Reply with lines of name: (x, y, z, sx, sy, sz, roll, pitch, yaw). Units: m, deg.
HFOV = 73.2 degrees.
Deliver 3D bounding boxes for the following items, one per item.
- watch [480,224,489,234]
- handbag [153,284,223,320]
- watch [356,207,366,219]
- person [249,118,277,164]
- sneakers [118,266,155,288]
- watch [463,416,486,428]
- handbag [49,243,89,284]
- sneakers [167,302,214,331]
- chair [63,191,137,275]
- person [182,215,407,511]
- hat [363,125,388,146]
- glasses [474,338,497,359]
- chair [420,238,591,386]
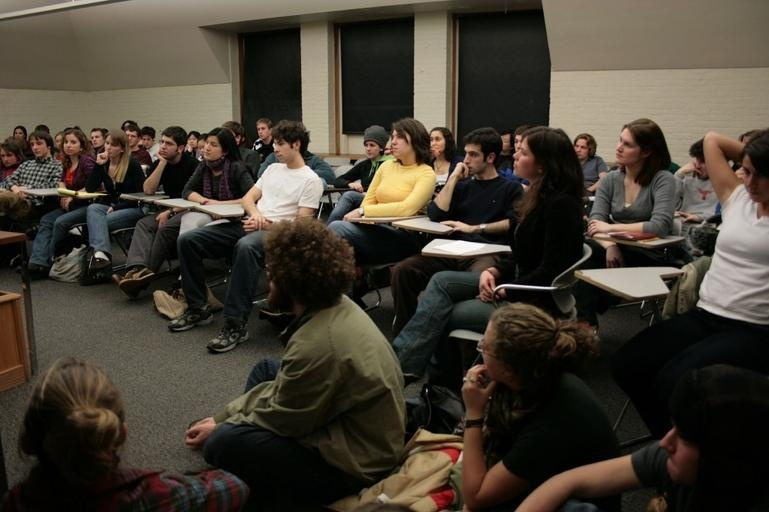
watch: (0.738, -0.195, 3.814, 0.061, 0.045, 0.060, -3, 0, 33)
handbag: (-1.795, 0.368, 4.639, 0.416, 0.197, 0.317, -2, 8, -40)
watch: (-0.192, -0.349, 4.273, 0.058, 0.075, 0.076, 1, 0, 5)
person: (-1.862, -1.597, 8.092, 0.457, 1.003, 0.364, 1, -2, 6)
sneakers: (-2.275, 0.202, 4.743, 0.243, 0.099, 0.156, -11, 45, -10)
watch: (0.372, 0.650, 2.053, 0.059, 0.039, 0.063, 4, -12, 7)
handbag: (-3.419, 0.136, 5.708, 0.336, 0.465, 0.164, 14, -13, 16)
sneakers: (-1.623, 0.519, 4.428, 0.429, 0.203, 0.141, -11, 17, -43)
chair: (-2.931, -0.040, 5.507, 0.636, 0.502, 0.933, 24, 18, -29)
person: (-0.223, 0.477, 2.900, 1.083, 1.597, 1.122, 2, 1, 6)
hat: (-0.103, -1.412, 6.052, 0.300, 0.250, 0.225, -3, 6, -31)
glasses: (0.385, 0.357, 1.997, 0.080, 0.025, 0.080, 18, 7, 4)
chair: (0.821, 0.426, 3.186, 0.704, 1.025, 0.609, 4, 13, 11)
